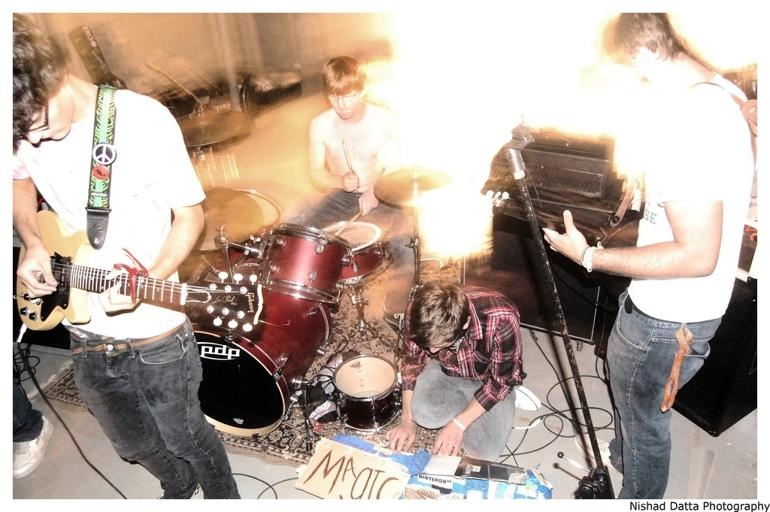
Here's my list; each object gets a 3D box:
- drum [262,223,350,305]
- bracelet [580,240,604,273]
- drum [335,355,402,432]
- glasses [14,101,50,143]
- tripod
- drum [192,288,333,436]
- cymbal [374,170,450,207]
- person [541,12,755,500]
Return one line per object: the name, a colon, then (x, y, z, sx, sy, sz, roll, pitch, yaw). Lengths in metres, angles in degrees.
drum: (-0.613, 0.095, 3.421, 0.698, 0.678, 0.464, 6, 75, 18)
bracelet: (1.061, -0.014, 2.445, 0.082, 0.143, 0.173, 1, 21, 11)
drum: (-0.117, 0.969, 3.415, 0.557, 0.369, 0.514, -3, 38, 3)
glasses: (-1.625, -0.633, 2.214, 0.159, 0.156, 0.048, 3, 37, 10)
tripod: (-0.159, 0.629, 4.156, 0.641, 0.568, 0.544, -1, 45, 1)
drum: (-0.799, 0.669, 2.999, 0.713, 0.768, 0.532, 37, 34, -11)
cymbal: (0.188, -0.572, 3.722, 0.567, 0.169, 0.450, -28, 36, -33)
person: (1.380, 0.248, 2.506, 0.763, 2.758, 0.947, 6, 34, 22)
